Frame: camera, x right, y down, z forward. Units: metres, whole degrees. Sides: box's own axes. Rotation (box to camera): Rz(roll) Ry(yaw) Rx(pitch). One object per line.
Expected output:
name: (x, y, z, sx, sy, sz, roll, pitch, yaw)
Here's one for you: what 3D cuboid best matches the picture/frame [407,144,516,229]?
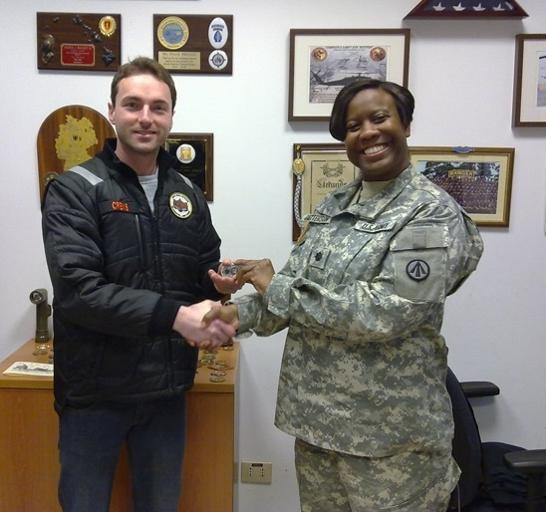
picture/frame: (0.676, -0.272, 1.911, 0.431, 0.311, 0.043, 2, 8, -2)
